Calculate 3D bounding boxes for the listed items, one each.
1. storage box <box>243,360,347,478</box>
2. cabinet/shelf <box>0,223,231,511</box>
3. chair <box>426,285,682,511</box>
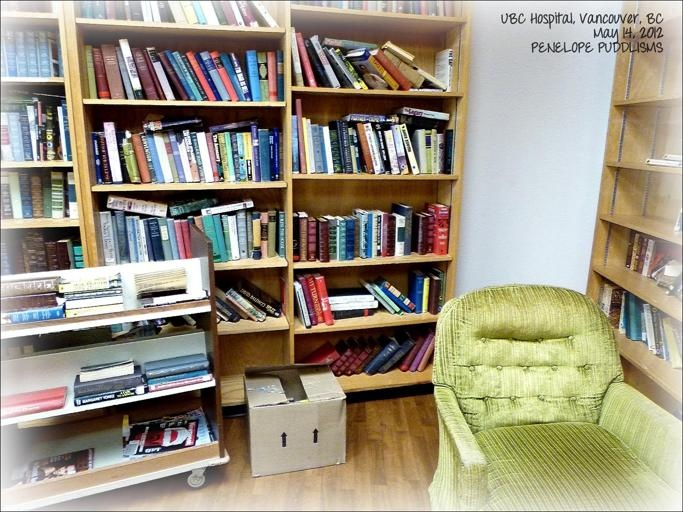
[{"bbox_3d":[-0.266,0.843,2.716,0.599,0.418,0.544,0,10,-3],"label":"storage box"},{"bbox_3d":[-1.130,0.529,2.429,1.103,1.219,0.593,-12,14,-19],"label":"cabinet/shelf"},{"bbox_3d":[0.646,0.505,2.267,1.178,1.017,0.994,-3,9,-1],"label":"chair"}]
